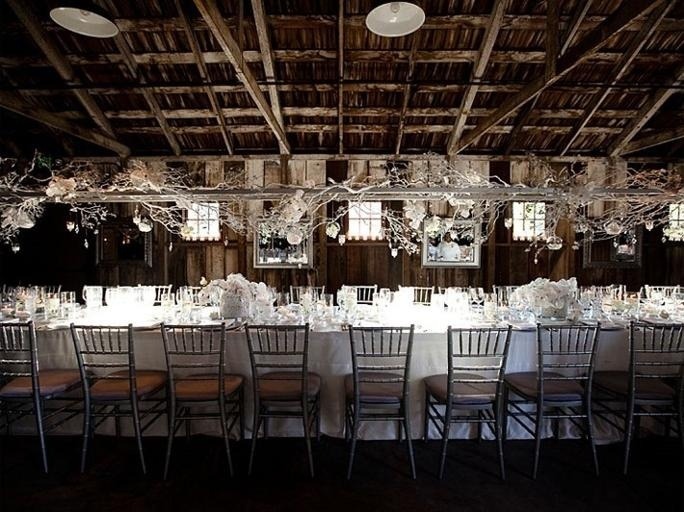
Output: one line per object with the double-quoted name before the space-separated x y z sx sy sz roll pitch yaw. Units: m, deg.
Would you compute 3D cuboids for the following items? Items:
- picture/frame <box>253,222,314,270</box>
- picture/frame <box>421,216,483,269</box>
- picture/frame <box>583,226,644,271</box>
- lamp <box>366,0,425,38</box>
"picture/frame" -0.969 -0.172 8.946 0.880 0.687 0.063 0 2 -1
"picture/frame" 1.890 -0.223 9.273 0.980 0.773 0.071 0 -1 1
"picture/frame" 4.898 -0.345 9.796 0.065 1.092 1.163 3 -3 -27
"lamp" 0.583 -2.522 5.774 0.508 0.242 0.487 2 -4 -29
